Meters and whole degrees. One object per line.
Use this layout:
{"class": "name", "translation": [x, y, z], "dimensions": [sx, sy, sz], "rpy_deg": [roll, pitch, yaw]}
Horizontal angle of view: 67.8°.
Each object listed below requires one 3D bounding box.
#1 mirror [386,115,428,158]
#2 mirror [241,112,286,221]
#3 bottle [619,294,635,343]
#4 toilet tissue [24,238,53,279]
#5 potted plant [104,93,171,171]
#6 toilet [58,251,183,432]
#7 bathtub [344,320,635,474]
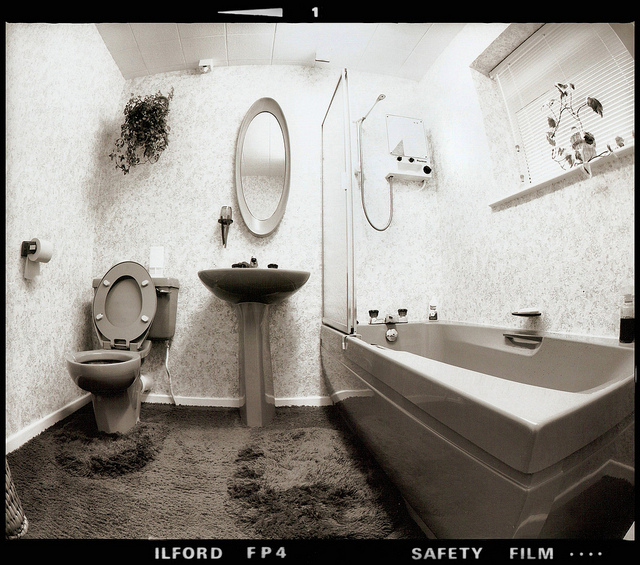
{"class": "mirror", "translation": [0.494, -0.827, 2.728], "dimensions": [0.250, 0.278, 0.028], "rpy_deg": [7, -25, -18]}
{"class": "mirror", "translation": [-0.323, -0.665, 2.709], "dimensions": [0.241, 0.587, 0.229], "rpy_deg": [0, 12, 2]}
{"class": "bottle", "translation": [1.126, 0.128, 1.735], "dimensions": [0.051, 0.161, 0.122], "rpy_deg": [8, 15, 32]}
{"class": "toilet tissue", "translation": [-1.277, -0.107, 2.142], "dimensions": [0.098, 0.184, 0.105], "rpy_deg": [4, 13, 19]}
{"class": "potted plant", "translation": [-0.945, -0.830, 2.521], "dimensions": [0.377, 0.430, 0.144], "rpy_deg": [-14, 0, -2]}
{"class": "toilet", "translation": [-0.976, 0.254, 2.445], "dimensions": [0.462, 0.871, 0.775], "rpy_deg": [0, -8, -1]}
{"class": "bathtub", "translation": [0.535, 0.320, 1.598], "dimensions": [0.427, 0.259, 0.723], "rpy_deg": [1, 2, -27]}
